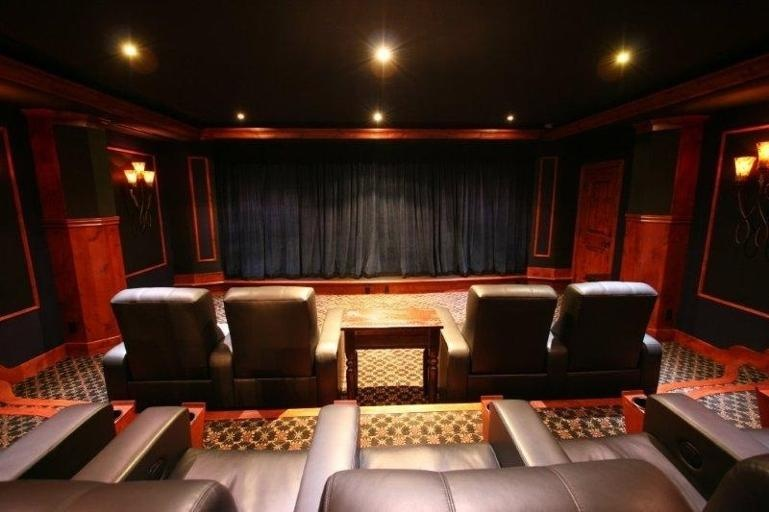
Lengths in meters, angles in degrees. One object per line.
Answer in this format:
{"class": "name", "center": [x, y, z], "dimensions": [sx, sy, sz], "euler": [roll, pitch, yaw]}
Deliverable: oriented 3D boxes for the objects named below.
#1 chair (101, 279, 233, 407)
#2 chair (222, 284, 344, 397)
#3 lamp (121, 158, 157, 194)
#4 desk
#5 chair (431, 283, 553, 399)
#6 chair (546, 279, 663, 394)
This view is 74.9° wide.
{"class": "chair", "center": [-1.870, 0.824, 4.922], "dimensions": [1.160, 1.058, 1.293], "euler": [2, -81, 0]}
{"class": "chair", "center": [-0.989, 0.825, 4.946], "dimensions": [1.255, 1.209, 1.255], "euler": [-3, -78, -6]}
{"class": "lamp", "center": [-3.375, -1.107, 6.913], "dimensions": [0.372, 0.336, 0.458], "euler": [-15, -63, -37]}
{"class": "desk", "center": [0.070, 1.033, 4.955], "dimensions": [0.938, 0.633, 0.867], "euler": [-1, -84, -2]}
{"class": "chair", "center": [0.916, 0.739, 4.961], "dimensions": [1.025, 1.016, 1.139], "euler": [0, -83, 2]}
{"class": "chair", "center": [2.008, 0.743, 4.978], "dimensions": [1.095, 1.146, 1.102], "euler": [-1, -82, -7]}
